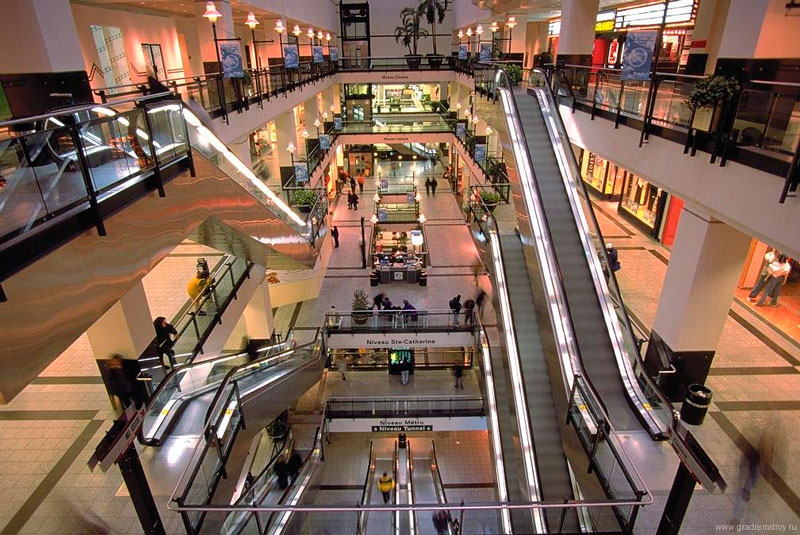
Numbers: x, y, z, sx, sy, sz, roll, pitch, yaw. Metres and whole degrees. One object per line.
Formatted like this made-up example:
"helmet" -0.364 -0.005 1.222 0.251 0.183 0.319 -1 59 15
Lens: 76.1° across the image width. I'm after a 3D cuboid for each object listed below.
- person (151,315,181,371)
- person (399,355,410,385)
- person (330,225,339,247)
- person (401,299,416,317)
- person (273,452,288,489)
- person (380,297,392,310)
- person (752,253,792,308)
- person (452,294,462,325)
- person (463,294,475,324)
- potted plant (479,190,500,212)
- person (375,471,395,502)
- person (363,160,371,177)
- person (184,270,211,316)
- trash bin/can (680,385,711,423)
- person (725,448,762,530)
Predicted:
"person" -4.594 1.453 10.149 0.386 0.955 1.188 -14 29 -22
"person" 0.167 3.438 16.983 0.366 0.680 0.741 -3 26 -1
"person" -2.871 -1.520 22.475 0.349 1.009 1.285 -6 27 -7
"person" 0.272 1.313 16.275 0.436 0.352 0.715 -4 26 -5
"person" -2.551 4.395 10.980 0.188 0.637 0.801 -7 27 -9
"person" -0.453 1.157 16.651 0.363 0.218 0.914 -4 26 -5
"person" 10.637 0.371 14.670 0.670 1.467 0.607 -18 31 -29
"person" 1.774 1.359 16.227 0.248 0.775 0.589 1 26 6
"person" 2.155 1.374 16.105 0.295 0.789 0.363 1 27 7
"potted plant" 2.921 -2.154 17.166 0.761 0.778 0.755 5 40 10
"person" -0.385 5.988 14.002 0.388 0.857 0.556 -10 27 -15
"person" -2.126 -6.755 34.479 0.815 0.994 0.371 -23 33 -36
"person" -4.597 0.476 11.381 0.377 0.600 1.164 1 55 -10
"trash bin/can" 6.065 2.919 10.598 0.434 1.086 0.424 12 30 27
"person" 6.604 4.192 9.831 0.362 0.160 2.412 19 33 36
